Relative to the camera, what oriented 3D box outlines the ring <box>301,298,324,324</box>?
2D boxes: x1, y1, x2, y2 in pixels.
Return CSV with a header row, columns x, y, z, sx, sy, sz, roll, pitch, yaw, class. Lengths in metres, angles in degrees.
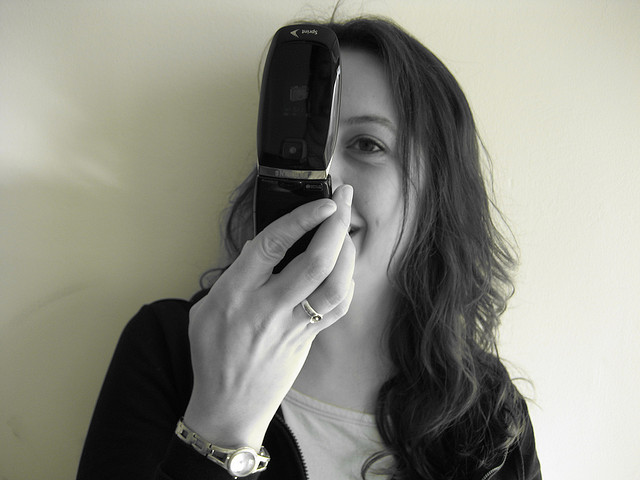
x,y,z,sx,sy,sz,roll,pitch,yaw,class
-0.026,0.166,1.449,0.031,0.054,0.048,-38,-27,19,ring
